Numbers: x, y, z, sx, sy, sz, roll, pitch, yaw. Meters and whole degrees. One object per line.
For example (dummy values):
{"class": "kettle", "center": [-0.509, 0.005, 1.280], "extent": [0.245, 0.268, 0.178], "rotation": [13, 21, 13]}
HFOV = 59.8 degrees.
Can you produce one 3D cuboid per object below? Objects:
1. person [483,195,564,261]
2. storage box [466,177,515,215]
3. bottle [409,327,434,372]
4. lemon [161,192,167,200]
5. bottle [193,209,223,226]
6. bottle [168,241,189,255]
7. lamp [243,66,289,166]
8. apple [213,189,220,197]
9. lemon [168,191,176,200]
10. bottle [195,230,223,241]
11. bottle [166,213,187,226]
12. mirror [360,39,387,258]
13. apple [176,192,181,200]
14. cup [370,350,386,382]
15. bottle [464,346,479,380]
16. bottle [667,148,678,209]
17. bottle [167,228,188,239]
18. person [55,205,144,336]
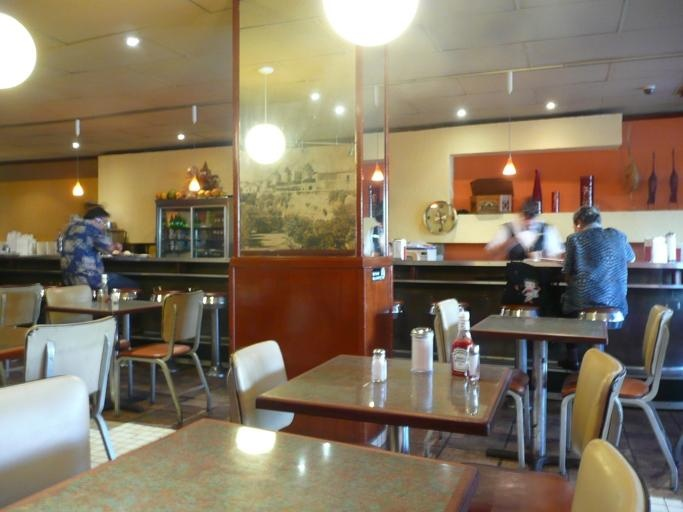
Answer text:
{"class": "person", "center": [1.972, -0.213, 6.325], "extent": [0.875, 0.989, 0.624], "rotation": [0, 2, 20]}
{"class": "storage box", "center": [2.334, -0.837, 9.305], "extent": [0.678, 0.675, 0.541], "rotation": [2, -22, 12]}
{"class": "bottle", "center": [0.398, 0.464, 2.963], "extent": [0.109, 0.206, 0.135], "rotation": [-2, 3, 6]}
{"class": "lemon", "center": [-2.962, -0.999, 9.886], "extent": [0.110, 0.115, 0.283], "rotation": [-3, 4, -24]}
{"class": "bottle", "center": [-2.175, -0.652, 9.746], "extent": [0.486, 0.297, 0.192], "rotation": [-1, 3, 14]}
{"class": "bottle", "center": [-2.693, -0.151, 9.890], "extent": [0.438, 0.248, 0.156], "rotation": [0, 4, 29]}
{"class": "lamp", "center": [-0.573, -1.050, 4.464], "extent": [0.310, 0.711, 0.321], "rotation": [5, 9, 32]}
{"class": "apple", "center": [-2.041, -1.044, 9.714], "extent": [0.095, 0.097, 0.097], "rotation": [6, 25, 28]}
{"class": "lemon", "center": [-2.816, -1.025, 9.931], "extent": [0.114, 0.166, 0.119], "rotation": [1, 2, 28]}
{"class": "bottle", "center": [-2.186, -0.363, 9.805], "extent": [0.465, 0.178, 0.134], "rotation": [-1, 3, 14]}
{"class": "bottle", "center": [-2.760, -0.603, 9.850], "extent": [0.365, 0.229, 0.168], "rotation": [0, 3, 26]}
{"class": "mirror", "center": [0.252, -0.796, 4.394], "extent": [0.143, 1.601, 0.540], "rotation": [-1, 3, 15]}
{"class": "apple", "center": [-2.725, -1.013, 9.938], "extent": [0.078, 0.101, 0.110], "rotation": [10, 28, 11]}
{"class": "cup", "center": [0.179, 0.513, 2.875], "extent": [0.077, 0.148, 0.172], "rotation": [-2, 3, 4]}
{"class": "bottle", "center": [0.624, 0.496, 2.844], "extent": [0.061, 0.167, 0.159], "rotation": [-1, 3, 14]}
{"class": "bottle", "center": [4.559, -1.087, 8.180], "extent": [0.098, 0.751, 0.207], "rotation": [0, 3, 29]}
{"class": "bottle", "center": [-2.735, -0.374, 9.889], "extent": [0.387, 0.171, 0.085], "rotation": [-1, 3, 14]}
{"class": "person", "center": [-2.701, 0.102, 6.550], "extent": [0.520, 1.306, 0.728], "rotation": [-6, -2, 29]}
